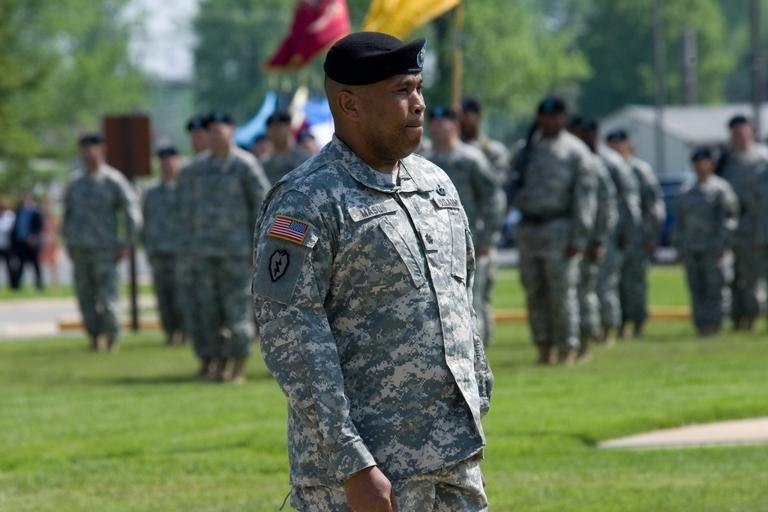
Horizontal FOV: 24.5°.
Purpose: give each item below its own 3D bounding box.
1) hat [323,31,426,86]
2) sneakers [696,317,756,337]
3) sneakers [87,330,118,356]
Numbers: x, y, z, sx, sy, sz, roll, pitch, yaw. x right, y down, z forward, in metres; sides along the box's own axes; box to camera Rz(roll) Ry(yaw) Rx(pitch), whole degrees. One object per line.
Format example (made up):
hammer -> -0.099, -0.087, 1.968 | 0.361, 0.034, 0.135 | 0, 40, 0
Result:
hat -> -0.052, -1.026, 9.181 | 0.384, 0.163, 0.321 | 2, 11, 10
sneakers -> 2.121, 0.432, 10.938 | 0.342, 0.133, 0.090 | 5, 9, 8
sneakers -> -1.758, 0.540, 11.040 | 0.177, 0.105, 0.089 | 2, 9, -15
